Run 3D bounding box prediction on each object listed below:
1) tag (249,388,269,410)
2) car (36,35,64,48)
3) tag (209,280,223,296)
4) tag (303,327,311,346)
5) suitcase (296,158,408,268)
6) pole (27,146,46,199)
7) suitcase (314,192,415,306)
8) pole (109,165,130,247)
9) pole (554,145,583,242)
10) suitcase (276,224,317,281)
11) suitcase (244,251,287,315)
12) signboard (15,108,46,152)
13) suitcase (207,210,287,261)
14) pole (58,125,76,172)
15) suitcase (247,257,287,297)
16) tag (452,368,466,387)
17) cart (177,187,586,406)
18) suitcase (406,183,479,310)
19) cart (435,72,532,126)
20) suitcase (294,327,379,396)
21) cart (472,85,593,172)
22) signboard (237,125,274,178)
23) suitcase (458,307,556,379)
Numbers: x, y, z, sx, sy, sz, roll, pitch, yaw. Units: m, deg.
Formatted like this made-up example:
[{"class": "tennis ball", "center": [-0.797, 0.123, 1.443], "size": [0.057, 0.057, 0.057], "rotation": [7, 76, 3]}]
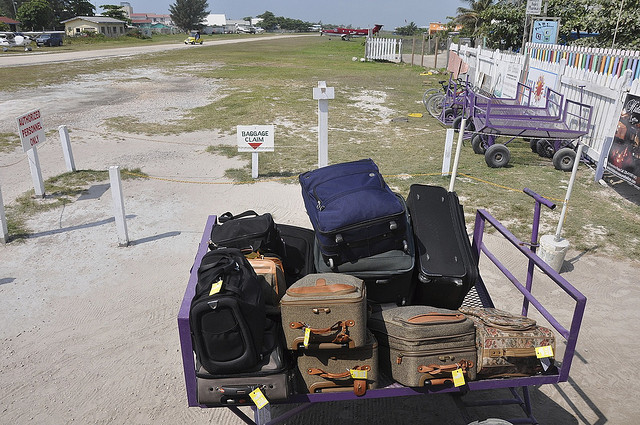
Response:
[{"class": "tag", "center": [-0.596, 1.808, 4.368], "size": [0.169, 0.220, 0.022], "rotation": [-36, -3, -25]}, {"class": "car", "center": [-32.333, -20.583, 53.589], "size": [1.532, 1.056, 2.407], "rotation": [4, 25, 0]}, {"class": "tag", "center": [-1.015, 0.730, 4.385], "size": [0.114, 0.067, 0.164], "rotation": [-2, 23, -3]}, {"class": "tag", "center": [-0.133, 1.214, 4.373], "size": [0.056, 0.153, 0.098], "rotation": [8, 26, 20]}, {"class": "suitcase", "center": [0.366, -0.087, 5.559], "size": [1.266, 0.670, 1.488], "rotation": [-8, 38, -5]}, {"class": "pole", "center": [-6.169, -0.876, 9.723], "size": [0.286, 1.150, 0.457], "rotation": [-16, 29, -28]}, {"class": "suitcase", "center": [0.675, 0.261, 5.222], "size": [1.072, 0.451, 1.314], "rotation": [-3, 50, -1]}, {"class": "pole", "center": [-3.708, -0.122, 8.154], "size": [0.379, 1.434, 0.338], "rotation": [-7, 1, -34]}, {"class": "pole", "center": [4.485, -0.280, 7.939], "size": [0.300, 1.705, 0.281], "rotation": [15, 10, 31]}, {"class": "suitcase", "center": [-0.251, 0.519, 5.903], "size": [0.800, 0.604, 1.154], "rotation": [2, 1, -2]}, {"class": "suitcase", "center": [-0.533, 0.764, 4.907], "size": [0.468, 0.607, 0.570], "rotation": [1, 27, 12]}, {"class": "signboard", "center": [-6.109, -1.728, 9.434], "size": [0.265, 0.751, 0.971], "rotation": [-7, 24, -11]}, {"class": "suitcase", "center": [-0.885, 0.254, 5.457], "size": [1.013, 0.689, 0.689], "rotation": [1, -2, -4]}, {"class": "pole", "center": [-6.343, -1.625, 11.214], "size": [0.253, 1.163, 0.545], "rotation": [-15, 28, -27]}, {"class": "suitcase", "center": [-0.598, 0.762, 5.038], "size": [0.381, 0.485, 0.308], "rotation": [4, 4, 16]}, {"class": "tag", "center": [1.365, 1.627, 4.422], "size": [0.114, 0.150, 0.089], "rotation": [-7, 25, -13]}, {"class": "cart", "center": [0.790, 1.023, 5.145], "size": [2.864, 1.100, 1.463], "rotation": [-1, 24, -7]}, {"class": "suitcase", "center": [1.446, 0.456, 5.377], "size": [0.841, 1.427, 1.391], "rotation": [-3, 23, 4]}, {"class": "cart", "center": [6.232, -3.997, 16.163], "size": [3.436, 1.767, 1.691], "rotation": [-1, 39, 1]}, {"class": "suitcase", "center": [0.188, 1.573, 4.689], "size": [0.727, 0.401, 0.686], "rotation": [-1, 6, 1]}, {"class": "cart", "center": [5.875, -1.923, 12.597], "size": [3.339, 2.069, 1.976], "rotation": [3, 40, 6]}, {"class": "signboard", "center": [-1.560, -1.501, 10.948], "size": [0.846, 1.240, 0.512], "rotation": [-5, 25, -9]}, {"class": "suitcase", "center": [1.942, 1.319, 4.647], "size": [0.708, 0.446, 0.873], "rotation": [-2, 6, -10]}]
